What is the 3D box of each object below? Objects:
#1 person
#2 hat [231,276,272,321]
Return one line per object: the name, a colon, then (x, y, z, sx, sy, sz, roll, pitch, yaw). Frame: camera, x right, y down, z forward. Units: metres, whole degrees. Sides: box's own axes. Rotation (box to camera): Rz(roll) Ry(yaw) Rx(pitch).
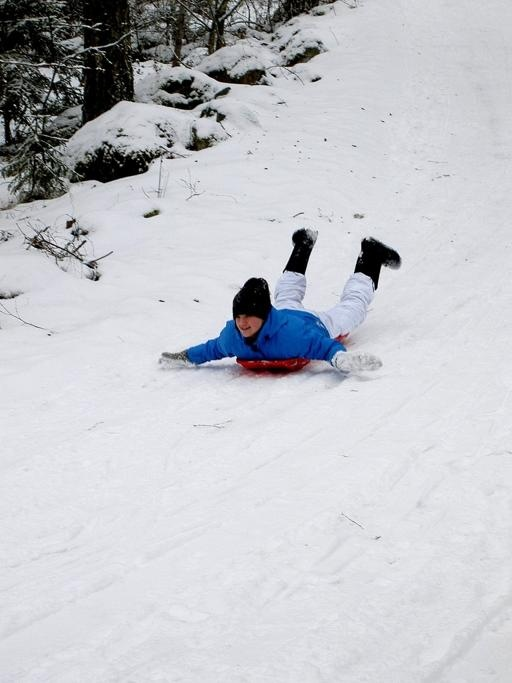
person: (0.392, -0.260, 5.132, 0.486, 1.382, 0.976, 57, 29, -4)
hat: (-0.022, -0.278, 4.842, 0.255, 0.299, 0.208, 6, 75, -5)
